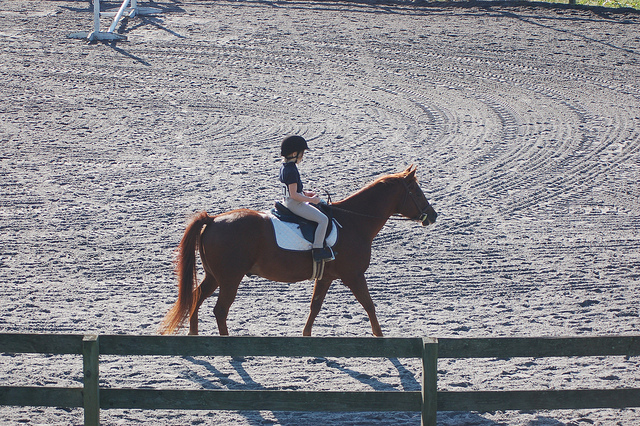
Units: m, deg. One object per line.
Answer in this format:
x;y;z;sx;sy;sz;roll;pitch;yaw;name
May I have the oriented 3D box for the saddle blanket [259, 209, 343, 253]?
-0.591;0.700;59.959;3.128;1.155;0.700;8;7;-5;saddle blanket
